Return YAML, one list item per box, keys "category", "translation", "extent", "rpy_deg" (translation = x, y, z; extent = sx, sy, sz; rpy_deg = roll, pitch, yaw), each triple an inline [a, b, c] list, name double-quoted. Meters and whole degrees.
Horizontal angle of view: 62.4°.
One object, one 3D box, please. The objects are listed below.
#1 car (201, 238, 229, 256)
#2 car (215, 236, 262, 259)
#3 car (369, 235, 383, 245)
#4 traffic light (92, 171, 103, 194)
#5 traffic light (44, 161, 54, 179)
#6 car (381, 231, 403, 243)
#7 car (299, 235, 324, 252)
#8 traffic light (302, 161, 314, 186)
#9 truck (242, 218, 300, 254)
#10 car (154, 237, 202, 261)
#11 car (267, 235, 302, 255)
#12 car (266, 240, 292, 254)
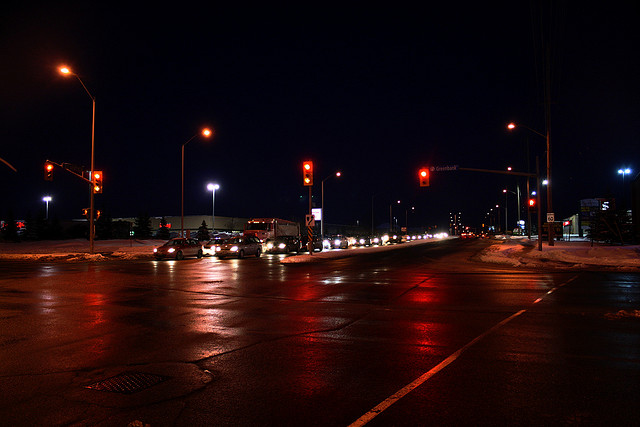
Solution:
- category: "car"
  translation: [-9.394, 2.982, 47.166]
  extent: [1.249, 1.066, 2.220]
  rpy_deg: [-2, -7, 17]
- category: "car"
  translation: [-6.162, 2.560, 41.314]
  extent: [1.909, 1.701, 3.355]
  rpy_deg: [-2, -5, 29]
- category: "car"
  translation: [8.799, 3.963, 82.059]
  extent: [1.249, 1.038, 2.134]
  rpy_deg: [-1, -15, 10]
- category: "traffic light"
  translation: [-16.436, -2.313, 38.932]
  extent: [0.650, 1.463, 0.651]
  rpy_deg: [1, -3, -14]
- category: "traffic light"
  translation: [-18.928, -2.993, 36.953]
  extent: [0.394, 1.151, 0.969]
  rpy_deg: [1, -4, -17]
- category: "car"
  translation: [12.897, 4.447, 94.370]
  extent: [2.166, 1.723, 4.118]
  rpy_deg: [2, 5, 44]
- category: "car"
  translation: [-0.721, 2.898, 52.316]
  extent: [1.213, 1.022, 2.008]
  rpy_deg: [1, 3, 20]
- category: "traffic light"
  translation: [-0.772, -2.577, 34.358]
  extent: [0.499, 1.438, 0.671]
  rpy_deg: [0, -3, 5]
- category: "truck"
  translation: [-5.075, 2.249, 57.400]
  extent: [2.939, 3.604, 7.682]
  rpy_deg: [1, -3, 27]
- category: "car"
  translation: [-10.401, 2.585, 39.040]
  extent: [1.666, 1.545, 3.727]
  rpy_deg: [-2, -5, 22]
- category: "car"
  translation: [-3.234, 2.829, 48.165]
  extent: [1.636, 1.631, 3.278]
  rpy_deg: [-3, -5, 36]
- category: "car"
  translation: [-3.770, 2.950, 47.508]
  extent: [2.134, 1.168, 1.041]
  rpy_deg: [0, -4, -1]
